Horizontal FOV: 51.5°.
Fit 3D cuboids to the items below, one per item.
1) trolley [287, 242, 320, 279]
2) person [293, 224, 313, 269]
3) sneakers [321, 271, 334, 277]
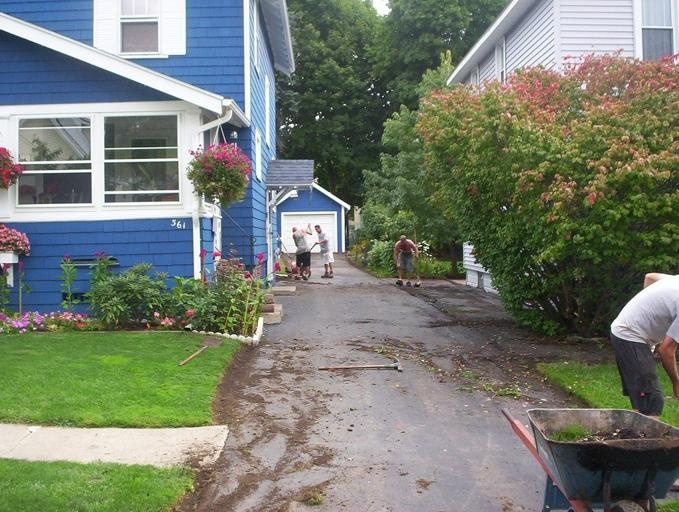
[{"bbox_3d":[-1.405,0.329,24.362,1.332,1.164,0.927,1,-2,-9],"label":"trolley"},{"bbox_3d":[-1.311,-0.187,23.525,0.577,1.634,1.470,2,13,-3],"label":"person"},{"bbox_3d":[-0.464,0.645,24.328,0.447,0.177,0.161,1,0,15],"label":"sneakers"}]
